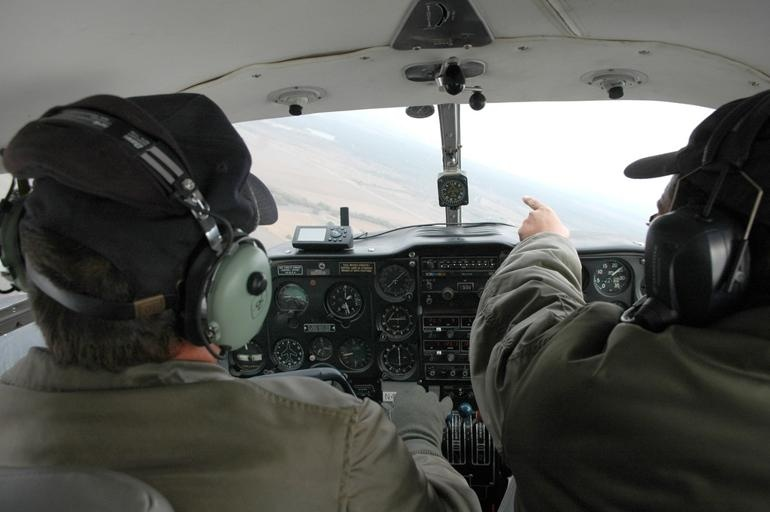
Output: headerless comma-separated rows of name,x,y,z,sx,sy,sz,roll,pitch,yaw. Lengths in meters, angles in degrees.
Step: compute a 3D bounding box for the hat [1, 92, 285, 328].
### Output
hat,-0.627,-0.175,1.728,0.596,0.636,0.387,4,9,13
